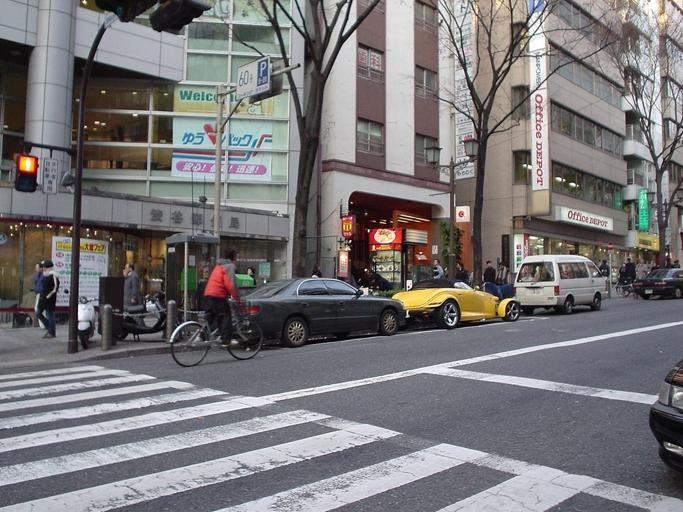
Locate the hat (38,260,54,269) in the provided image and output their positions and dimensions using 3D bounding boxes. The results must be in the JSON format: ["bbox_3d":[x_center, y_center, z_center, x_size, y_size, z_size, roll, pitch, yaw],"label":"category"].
[{"bbox_3d":[-7.881,0.221,17.926,0.353,0.232,0.363,4,-4,-25],"label":"hat"}]

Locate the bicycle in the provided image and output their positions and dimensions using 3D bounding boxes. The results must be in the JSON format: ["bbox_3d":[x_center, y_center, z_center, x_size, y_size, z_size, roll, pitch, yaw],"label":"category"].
[{"bbox_3d":[-2.605,1.540,14.305,2.196,1.464,0.974,1,-6,-42],"label":"bicycle"}]

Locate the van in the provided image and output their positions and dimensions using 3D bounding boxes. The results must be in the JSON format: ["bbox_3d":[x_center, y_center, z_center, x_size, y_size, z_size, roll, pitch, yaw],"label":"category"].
[{"bbox_3d":[8.302,1.042,25.204,3.890,2.128,2.087,-1,-2,-45],"label":"van"}]

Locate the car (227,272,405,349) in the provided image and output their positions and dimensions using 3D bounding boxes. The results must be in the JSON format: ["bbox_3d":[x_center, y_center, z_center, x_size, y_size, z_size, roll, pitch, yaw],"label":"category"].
[{"bbox_3d":[-0.509,1.406,17.887,4.663,1.717,1.832,-1,-4,-34],"label":"car"}]

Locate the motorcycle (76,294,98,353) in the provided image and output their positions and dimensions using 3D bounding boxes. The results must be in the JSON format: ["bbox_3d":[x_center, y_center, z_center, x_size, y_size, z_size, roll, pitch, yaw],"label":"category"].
[{"bbox_3d":[-6.147,1.441,16.117,0.478,0.806,1.304,1,7,-21],"label":"motorcycle"}]

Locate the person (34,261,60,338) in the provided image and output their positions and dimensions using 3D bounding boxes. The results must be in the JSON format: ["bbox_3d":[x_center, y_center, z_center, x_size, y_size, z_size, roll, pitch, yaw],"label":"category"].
[{"bbox_3d":[-7.878,1.137,18.003,0.523,2.044,0.799,1,-3,-26],"label":"person"}]

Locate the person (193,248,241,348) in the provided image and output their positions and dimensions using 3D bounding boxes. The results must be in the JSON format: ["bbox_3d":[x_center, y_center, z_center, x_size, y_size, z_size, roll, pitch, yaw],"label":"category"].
[{"bbox_3d":[-2.568,0.835,14.369,1.657,1.653,0.476,1,-1,-31],"label":"person"}]

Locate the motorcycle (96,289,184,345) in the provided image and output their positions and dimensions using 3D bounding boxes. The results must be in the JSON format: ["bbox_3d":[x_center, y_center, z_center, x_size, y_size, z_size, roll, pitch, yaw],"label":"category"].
[{"bbox_3d":[-5.052,1.492,17.015,1.805,1.172,0.709,4,-2,-35],"label":"motorcycle"}]

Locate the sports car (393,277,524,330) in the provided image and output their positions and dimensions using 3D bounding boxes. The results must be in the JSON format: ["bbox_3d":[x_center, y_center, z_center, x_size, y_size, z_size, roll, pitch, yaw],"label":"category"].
[{"bbox_3d":[3.281,1.346,19.736,3.661,1.413,1.455,1,-1,-43],"label":"sports car"}]

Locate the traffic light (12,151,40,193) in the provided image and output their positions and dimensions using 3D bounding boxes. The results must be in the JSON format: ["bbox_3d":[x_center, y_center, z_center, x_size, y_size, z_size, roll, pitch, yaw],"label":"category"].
[{"bbox_3d":[-7.340,-1.965,15.669,0.466,0.903,0.528,1,-4,-32],"label":"traffic light"}]
